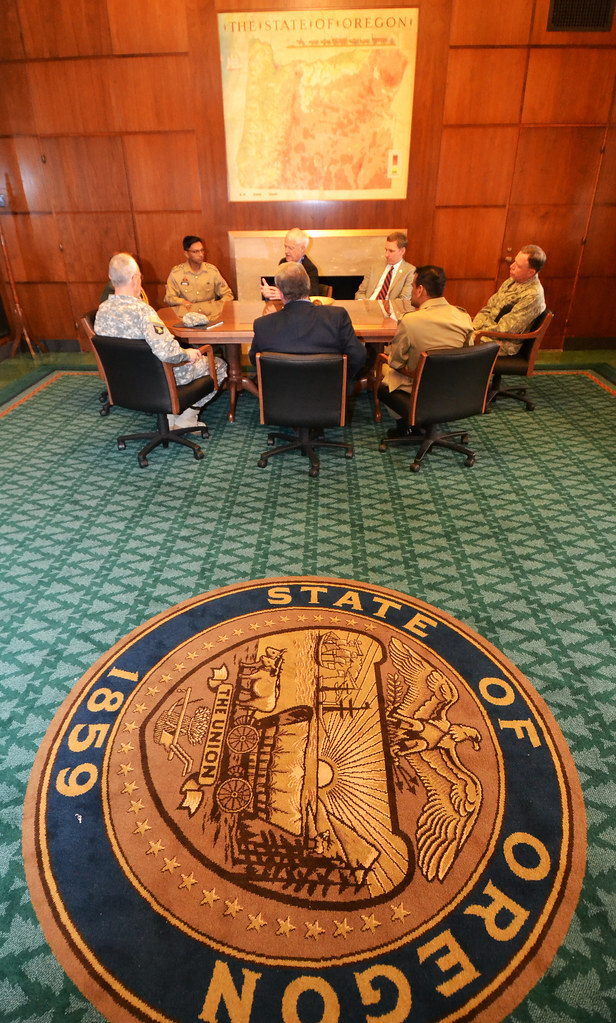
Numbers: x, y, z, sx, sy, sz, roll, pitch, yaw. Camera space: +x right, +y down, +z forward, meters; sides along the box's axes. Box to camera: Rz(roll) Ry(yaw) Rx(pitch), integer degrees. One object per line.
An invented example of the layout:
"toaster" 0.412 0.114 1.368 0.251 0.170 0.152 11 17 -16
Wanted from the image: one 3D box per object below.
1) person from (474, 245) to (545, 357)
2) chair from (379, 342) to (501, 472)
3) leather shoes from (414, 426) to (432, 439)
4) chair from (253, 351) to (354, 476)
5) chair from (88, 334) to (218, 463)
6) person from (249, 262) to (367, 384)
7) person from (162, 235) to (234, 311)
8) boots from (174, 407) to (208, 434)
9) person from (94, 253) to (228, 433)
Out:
"person" 1.554 -1.639 4.478 0.489 0.698 0.787 8 36 13
"chair" 0.795 -0.752 3.709 0.583 0.785 0.667 -7 32 -9
"leather shoes" 0.800 -0.577 4.045 0.107 0.124 0.115 3 37 6
"chair" 0.045 -0.745 3.633 0.576 0.829 0.650 10 17 6
"chair" -0.966 -0.807 3.809 0.686 0.930 0.720 -5 34 -9
"person" 0.010 -0.970 3.793 0.601 1.350 0.479 -10 56 -6
"person" -0.954 -1.994 5.180 0.549 0.813 0.480 -20 47 -22
"boots" -0.854 -0.642 4.315 0.188 0.212 0.232 2 49 -3
"person" -0.933 -1.065 3.856 0.595 1.308 0.717 17 40 29
